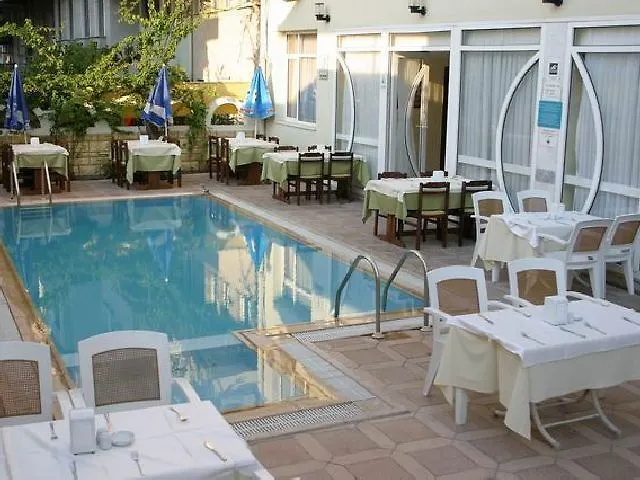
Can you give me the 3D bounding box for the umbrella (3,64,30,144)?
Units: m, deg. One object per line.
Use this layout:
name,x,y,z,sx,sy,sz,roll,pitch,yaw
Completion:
umbrella,-7.741,-3.498,14.057,0.603,1.756,0.746,-7,15,-29

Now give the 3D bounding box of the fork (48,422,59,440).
fork,-1.477,1.042,3.079,0.039,0.044,0.208,-6,22,-19

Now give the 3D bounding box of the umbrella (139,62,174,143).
umbrella,-4.293,-3.741,14.630,0.606,1.593,0.653,-7,15,-29

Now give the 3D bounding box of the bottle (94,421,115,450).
bottle,-1.179,1.052,3.025,0.067,0.080,0.197,0,-1,-16

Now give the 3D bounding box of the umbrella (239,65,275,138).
umbrella,-1.860,-4.236,16.971,0.879,1.901,0.962,3,13,12

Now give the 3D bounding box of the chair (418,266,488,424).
chair,1.373,0.880,4.936,0.730,1.161,0.834,-2,7,-4

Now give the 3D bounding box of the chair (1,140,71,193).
chair,-6.685,-1.802,13.077,1.137,0.649,2.009,-3,11,-19
